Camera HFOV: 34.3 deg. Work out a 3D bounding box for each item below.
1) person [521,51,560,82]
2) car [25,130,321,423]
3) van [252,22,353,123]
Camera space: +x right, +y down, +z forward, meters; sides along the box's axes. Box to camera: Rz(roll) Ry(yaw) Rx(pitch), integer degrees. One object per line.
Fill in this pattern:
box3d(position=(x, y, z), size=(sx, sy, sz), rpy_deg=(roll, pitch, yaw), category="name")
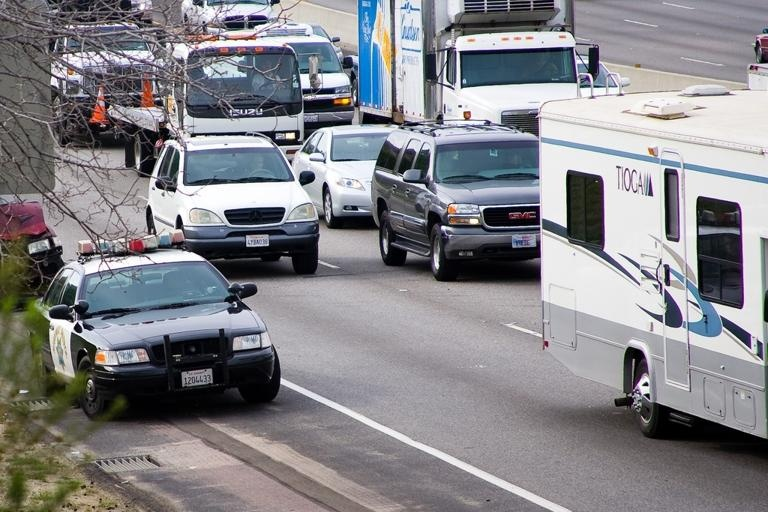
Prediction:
box3d(position=(3.654, -4.429, 28.834), size=(0.734, 0.745, 0.179), rpy_deg=(6, 1, -12), category="person")
box3d(position=(-3.013, 0.835, 16.376), size=(3.174, 2.290, 2.177), rpy_deg=(4, 13, 23), category="car")
box3d(position=(-1.959, -5.616, 38.423), size=(2.350, 2.339, 4.986), rpy_deg=(-2, 6, -10), category="van")
